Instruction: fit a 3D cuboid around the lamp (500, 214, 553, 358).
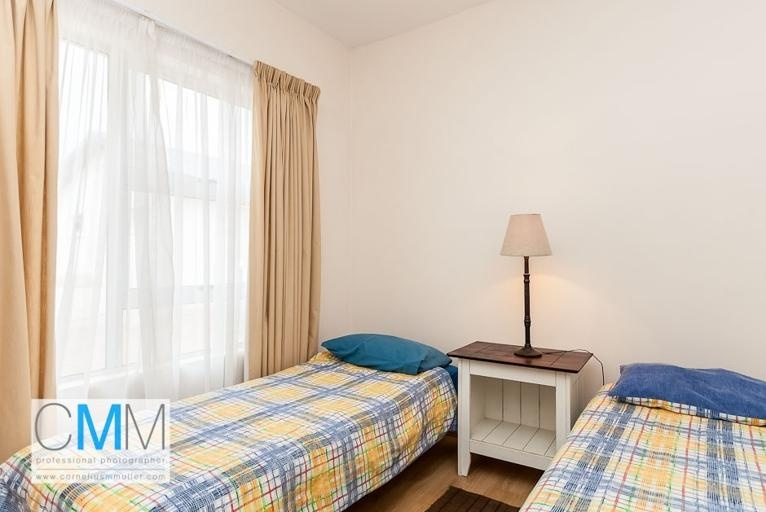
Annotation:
[{"bbox_3d":[0.962,0.184,3.416,0.307,0.936,0.447,1,5,15],"label":"lamp"}]
